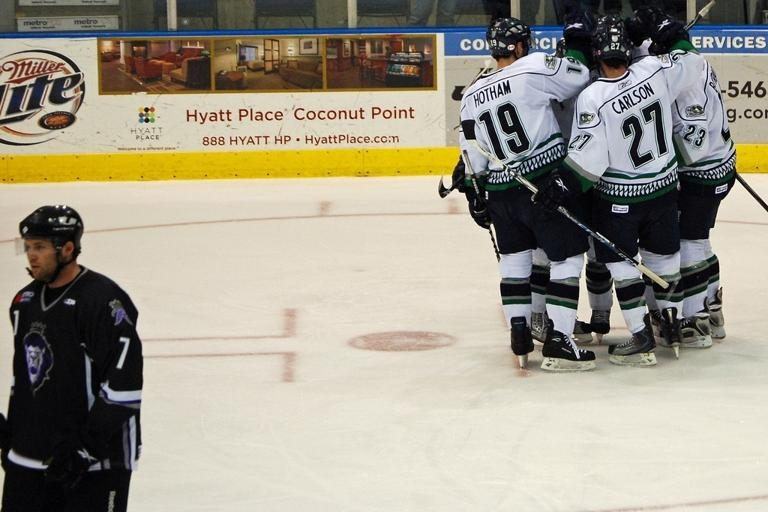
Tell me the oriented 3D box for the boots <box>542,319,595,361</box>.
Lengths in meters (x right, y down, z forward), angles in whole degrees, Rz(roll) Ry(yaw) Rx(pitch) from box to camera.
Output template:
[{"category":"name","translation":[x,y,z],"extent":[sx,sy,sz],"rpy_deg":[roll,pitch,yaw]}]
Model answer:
[{"category":"boots","translation":[1.239,0.564,6.780],"extent":[0.386,0.237,0.135],"rpy_deg":[5,12,39]}]

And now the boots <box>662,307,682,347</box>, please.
[{"category":"boots","translation":[1.963,0.468,7.096],"extent":[0.141,0.256,0.396],"rpy_deg":[-8,4,10]}]

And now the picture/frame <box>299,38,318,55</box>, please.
[{"category":"picture/frame","translation":[-1.080,-2.930,14.702],"extent":[0.267,0.186,0.020],"rpy_deg":[1,7,8]}]

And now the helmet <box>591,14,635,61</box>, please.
[{"category":"helmet","translation":[1.484,-1.375,6.672],"extent":[0.305,0.288,0.380],"rpy_deg":[3,39,11]}]

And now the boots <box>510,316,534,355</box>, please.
[{"category":"boots","translation":[0.914,0.536,6.801],"extent":[0.111,0.121,0.302],"rpy_deg":[-2,14,7]}]

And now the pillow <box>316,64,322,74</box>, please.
[{"category":"pillow","translation":[-0.908,-2.621,14.677],"extent":[0.032,0.107,0.125],"rpy_deg":[6,3,12]}]

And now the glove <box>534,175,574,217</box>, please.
[{"category":"glove","translation":[1.075,-0.385,6.561],"extent":[0.167,0.247,0.216],"rpy_deg":[9,14,42]}]

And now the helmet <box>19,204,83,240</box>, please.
[{"category":"helmet","translation":[-1.584,-0.134,4.972],"extent":[0.257,0.179,0.329],"rpy_deg":[4,4,39]}]

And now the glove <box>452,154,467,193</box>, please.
[{"category":"glove","translation":[0.536,-0.545,7.254],"extent":[0.085,0.199,0.171],"rpy_deg":[7,1,6]}]

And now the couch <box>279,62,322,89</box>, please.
[{"category":"couch","translation":[-1.169,-2.519,14.648],"extent":[0.577,0.375,0.196],"rpy_deg":[-2,11,-11]}]

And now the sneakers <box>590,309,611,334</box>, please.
[{"category":"sneakers","translation":[1.527,0.458,7.336],"extent":[0.084,0.209,0.155],"rpy_deg":[3,-2,4]}]

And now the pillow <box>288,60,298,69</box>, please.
[{"category":"pillow","translation":[-1.282,-2.675,14.681],"extent":[0.141,0.110,0.037],"rpy_deg":[-4,1,-9]}]
